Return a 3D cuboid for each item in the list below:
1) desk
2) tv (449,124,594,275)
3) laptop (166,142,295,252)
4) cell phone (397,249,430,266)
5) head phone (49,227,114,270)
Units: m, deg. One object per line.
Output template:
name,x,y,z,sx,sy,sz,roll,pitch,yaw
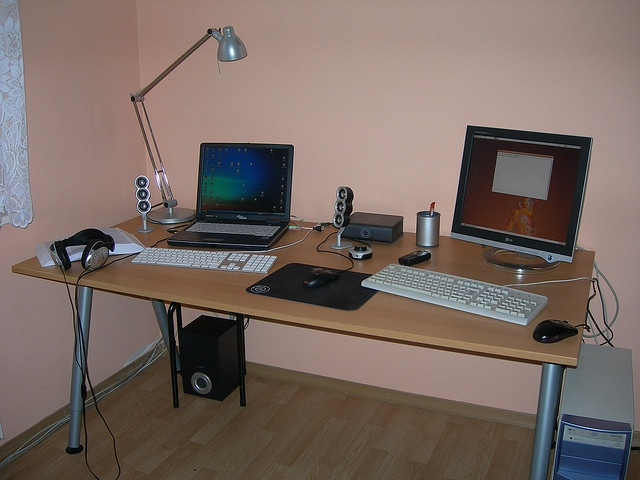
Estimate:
desk,0.011,0.487,2.141,2.012,0.898,1.065,6,15,23
tv,0.796,-0.153,1.987,0.458,0.517,0.263,13,29,33
laptop,-0.374,-0.210,2.353,0.551,0.433,0.491,5,22,14
cell phone,0.375,0.067,2.018,0.117,0.029,0.056,-15,20,-41
head phone,-0.937,0.019,1.993,0.160,0.092,0.206,3,20,8
